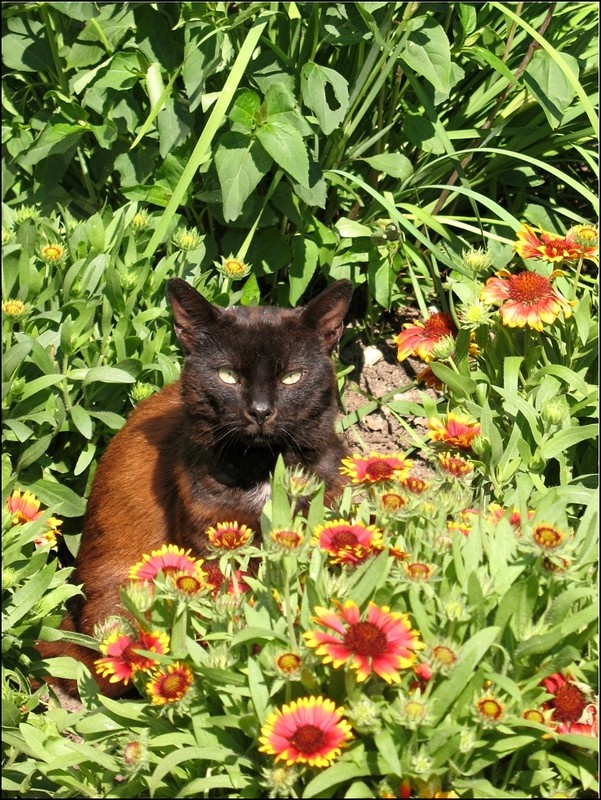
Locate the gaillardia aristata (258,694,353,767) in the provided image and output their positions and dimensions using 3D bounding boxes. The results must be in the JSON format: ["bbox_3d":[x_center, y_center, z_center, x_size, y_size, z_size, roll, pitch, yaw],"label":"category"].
[{"bbox_3d":[0.011,0.555,1.219,0.135,0.082,0.124,23,58,14],"label":"gaillardia aristata"}]

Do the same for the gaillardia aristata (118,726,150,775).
[{"bbox_3d":[-0.312,0.665,1.358,0.061,0.023,0.061,-7,69,43],"label":"gaillardia aristata"}]

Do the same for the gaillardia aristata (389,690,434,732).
[{"bbox_3d":[0.196,0.555,1.269,0.084,0.032,0.084,20,43,-12],"label":"gaillardia aristata"}]

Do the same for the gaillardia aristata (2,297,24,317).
[{"bbox_3d":[-0.932,-0.309,2.350,0.070,0.064,0.037,-5,31,-4],"label":"gaillardia aristata"}]
